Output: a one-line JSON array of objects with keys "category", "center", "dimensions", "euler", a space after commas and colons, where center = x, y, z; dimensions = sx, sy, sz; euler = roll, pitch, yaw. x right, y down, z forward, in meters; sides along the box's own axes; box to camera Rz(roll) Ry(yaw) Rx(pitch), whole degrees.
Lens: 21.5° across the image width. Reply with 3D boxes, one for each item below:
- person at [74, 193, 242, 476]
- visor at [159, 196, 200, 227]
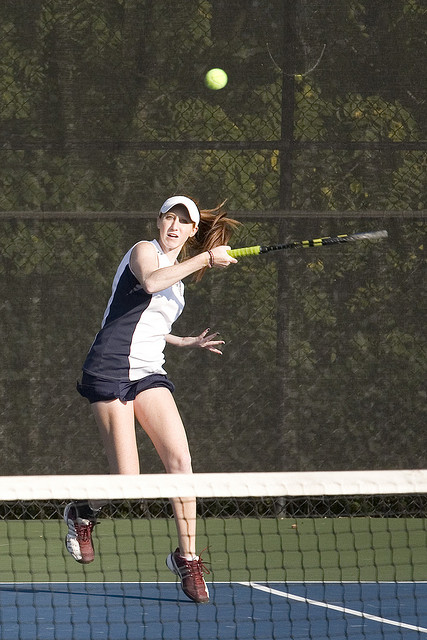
[{"category": "person", "center": [-0.232, 0.044, 4.669], "dimensions": [0.648, 1.152, 1.428], "euler": [1, 2, 3]}, {"category": "visor", "center": [-0.137, -0.457, 4.717], "dimensions": [0.158, 0.128, 0.101], "euler": [0, 3, -4]}]
